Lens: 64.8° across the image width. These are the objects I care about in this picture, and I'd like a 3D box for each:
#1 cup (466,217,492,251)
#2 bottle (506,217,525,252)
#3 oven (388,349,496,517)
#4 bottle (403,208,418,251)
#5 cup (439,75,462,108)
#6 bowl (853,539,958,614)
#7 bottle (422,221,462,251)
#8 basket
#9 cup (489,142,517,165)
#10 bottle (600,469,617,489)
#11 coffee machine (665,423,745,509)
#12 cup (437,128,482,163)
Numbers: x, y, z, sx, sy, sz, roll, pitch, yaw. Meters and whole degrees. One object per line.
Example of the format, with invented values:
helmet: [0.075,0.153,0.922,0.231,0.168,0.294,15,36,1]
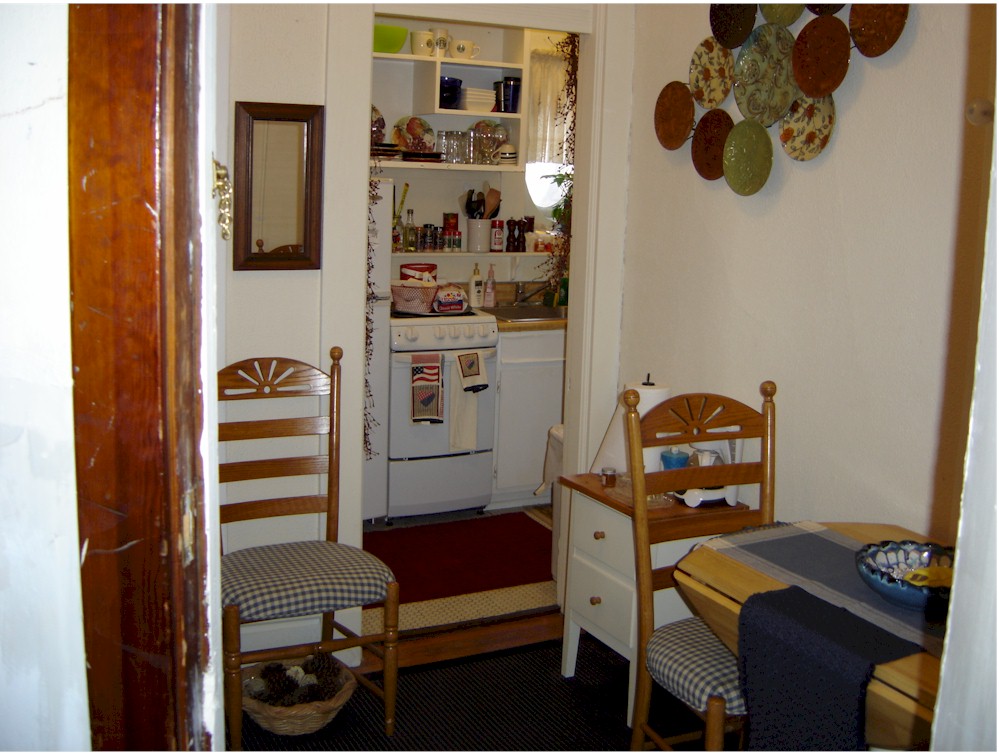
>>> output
cup: [-0.134,-0.870,4.877,0.164,0.205,0.174,1,13,0]
bottle: [0.110,-0.888,5.027,0.089,0.206,0.177,12,15,43]
oven: [-0.383,0.142,4.501,0.658,1.088,0.844,-1,26,-9]
bottle: [-0.541,-0.889,4.804,0.085,0.249,0.214,1,11,-6]
cup: [-0.289,-1.631,4.534,0.132,0.134,0.162,1,14,-2]
bowl: [0.839,0.403,1.618,0.221,0.072,0.224,0,6,0]
bottle: [-0.361,-0.846,4.850,0.288,0.156,0.142,-1,11,-16]
basket: [-0.659,0.987,2.563,0.328,0.202,0.347,-1,10,-24]
cup: [0.011,-1.340,4.768,0.104,0.135,0.156,-3,7,-29]
bottle: [0.358,0.344,2.608,0.045,0.057,0.048,-1,5,0]
coffee machine: [0.652,0.302,2.510,0.198,0.322,0.221,-3,11,-21]
cup: [-0.263,-1.352,4.753,0.242,0.252,0.219,-6,21,-24]
